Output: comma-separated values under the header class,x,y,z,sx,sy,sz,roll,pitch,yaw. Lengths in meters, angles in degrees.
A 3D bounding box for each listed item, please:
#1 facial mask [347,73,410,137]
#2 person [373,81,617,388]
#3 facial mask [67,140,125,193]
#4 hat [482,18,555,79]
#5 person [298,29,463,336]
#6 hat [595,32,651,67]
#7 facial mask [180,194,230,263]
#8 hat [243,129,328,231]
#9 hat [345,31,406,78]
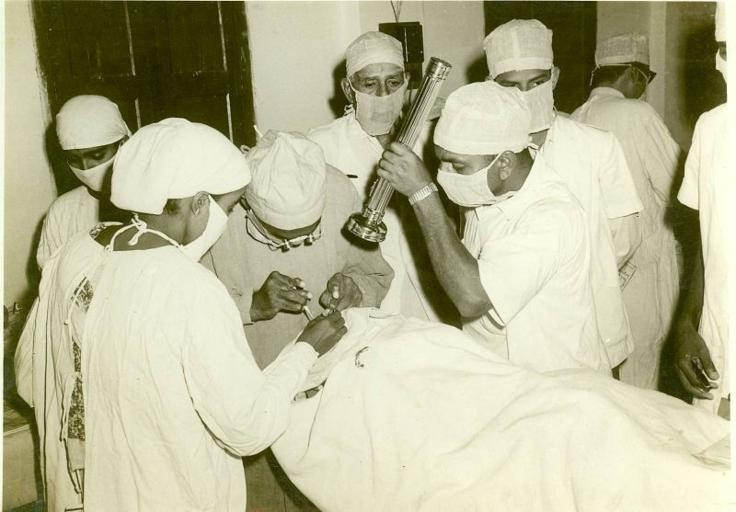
class,x,y,z,sx,sy,sz,roll,pitch,yaw
facial mask,0.072,-0.711,3.956,0.229,0.211,0.255,-9,59,-7
person,0.570,-0.064,3.550,0.745,1.139,0.749,-15,32,24
facial mask,-1.281,-0.415,3.847,0.252,0.172,0.294,-6,50,7
hat,0.713,-1.000,3.833,0.266,0.231,0.280,-11,9,23
person,0.047,-0.413,4.055,0.822,1.407,0.372,-14,11,-16
hat,1.371,-1.115,4.303,0.213,0.146,0.173,-1,24,14
facial mask,-0.648,-0.101,3.205,0.206,0.239,0.133,-17,-17,40
hat,-0.365,-0.378,3.464,0.285,0.262,0.439,-16,50,-16
hat,0.018,-0.998,3.872,0.215,0.160,0.228,0,20,21
